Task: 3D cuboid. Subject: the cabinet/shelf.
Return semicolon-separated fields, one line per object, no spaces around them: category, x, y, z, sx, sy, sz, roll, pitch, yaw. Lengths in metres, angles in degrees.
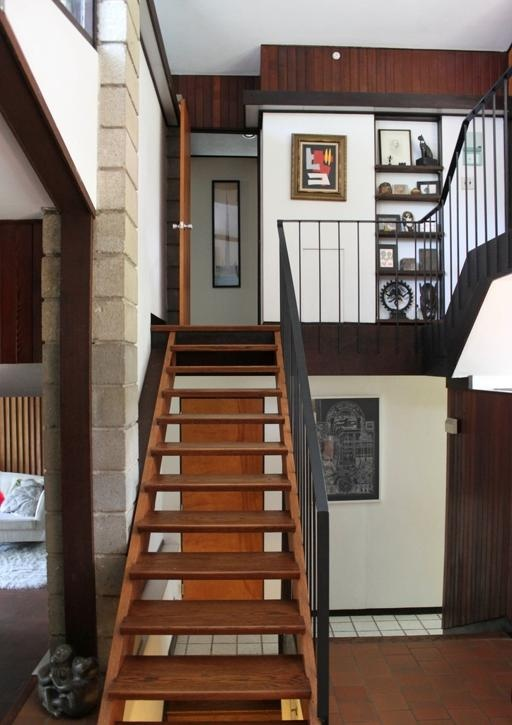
cabinet/shelf;1.257;-1.245;5.537;0.475;1.983;0.222;0;-27;11

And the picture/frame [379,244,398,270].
picture/frame;1.078;-0.862;5.519;0.140;0.225;0.136;-1;0;22

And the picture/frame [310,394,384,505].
picture/frame;0.744;0.746;5.721;0.606;1.051;0.021;-3;-43;9

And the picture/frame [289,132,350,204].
picture/frame;0.519;-1.604;5.534;0.394;0.632;0.038;0;-1;-3
